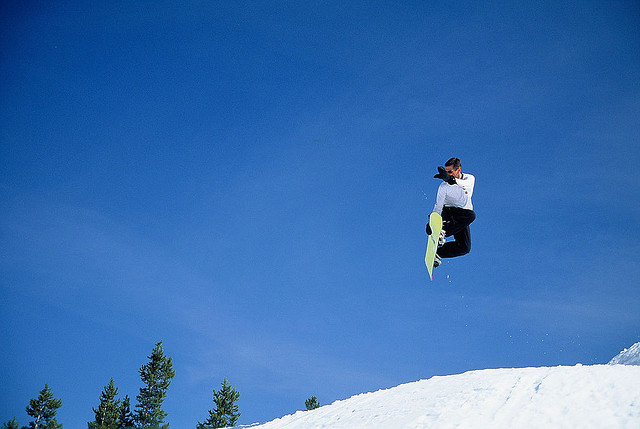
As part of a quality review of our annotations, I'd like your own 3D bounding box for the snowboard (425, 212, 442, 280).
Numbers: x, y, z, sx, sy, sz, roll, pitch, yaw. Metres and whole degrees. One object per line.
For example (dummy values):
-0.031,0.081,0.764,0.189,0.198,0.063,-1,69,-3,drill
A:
2.856,0.641,14.903,0.246,0.389,1.784,0,-77,-17,snowboard
